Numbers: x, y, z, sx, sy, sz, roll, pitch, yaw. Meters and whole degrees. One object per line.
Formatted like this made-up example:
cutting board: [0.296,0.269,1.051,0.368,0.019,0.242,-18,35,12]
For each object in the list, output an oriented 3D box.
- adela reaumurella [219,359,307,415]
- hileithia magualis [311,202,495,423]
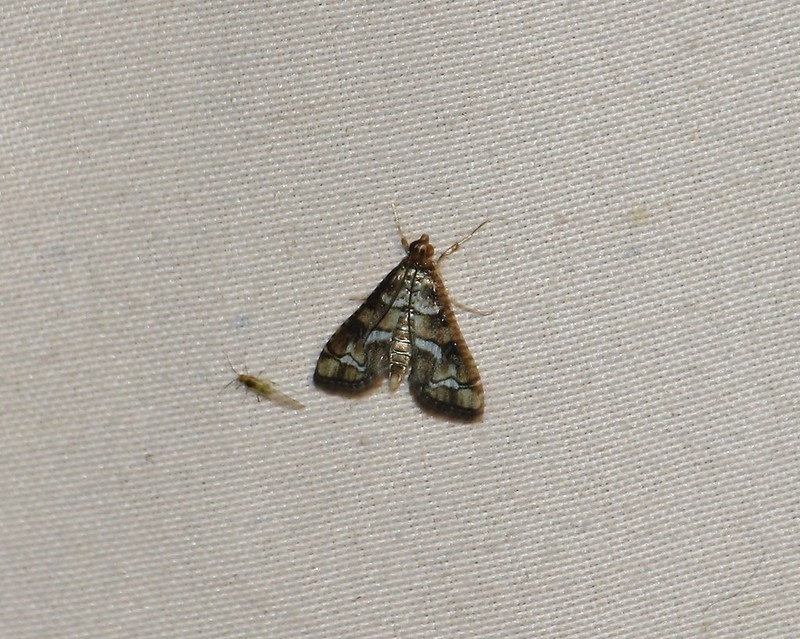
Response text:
adela reaumurella: [-0.736,0.383,7.990,0.456,0.076,0.128,23,83,2]
hileithia magualis: [0.062,-0.018,8.120,0.893,0.275,1.169,13,95,12]
